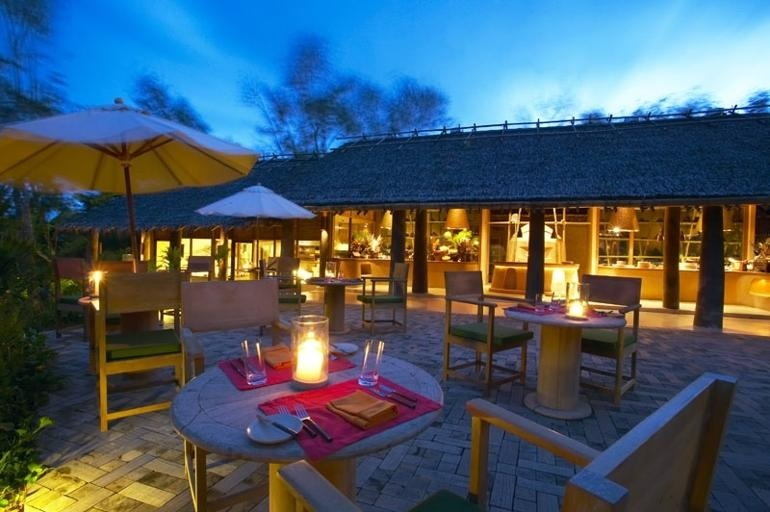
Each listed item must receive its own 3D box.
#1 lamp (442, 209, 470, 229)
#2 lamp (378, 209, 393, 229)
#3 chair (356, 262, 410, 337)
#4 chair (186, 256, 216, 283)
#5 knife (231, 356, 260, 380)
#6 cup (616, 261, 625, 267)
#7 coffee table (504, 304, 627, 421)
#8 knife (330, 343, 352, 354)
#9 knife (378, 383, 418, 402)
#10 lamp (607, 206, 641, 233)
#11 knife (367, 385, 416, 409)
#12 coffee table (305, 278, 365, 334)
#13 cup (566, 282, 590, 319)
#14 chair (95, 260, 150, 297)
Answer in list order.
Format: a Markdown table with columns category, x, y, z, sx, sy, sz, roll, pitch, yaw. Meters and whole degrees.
| category | x | y | z | sx | sy | sz | roll | pitch | yaw |
| --- | --- | --- | --- | --- | --- | --- | --- | --- | --- |
| lamp | 2.733 | -1.414 | 19.437 | 0.738 | 0.772 | 0.769 | 6 | 11 | 28 |
| lamp | 0.030 | -1.455 | 20.891 | 0.406 | 0.762 | 1.579 | -4 | 5 | -3 |
| chair | 0.022 | 1.099 | 13.020 | 1.491 | 2.233 | 1.898 | 1 | -1 | -10 |
| chair | -4.810 | 0.313 | 13.472 | 0.784 | 0.696 | 0.552 | 3 | 8 | -2 |
| knife | -1.936 | 1.567 | 7.177 | 0.253 | 0.291 | 0.179 | -8 | -16 | -13 |
| cup | 8.308 | 0.266 | 18.119 | 0.227 | 0.202 | 0.293 | -1 | -4 | 7 |
| coffee table | 3.168 | 1.797 | 9.185 | 1.922 | 1.367 | 1.937 | 2 | 2 | 30 |
| knife | -0.639 | 1.317 | 7.444 | 0.190 | 0.058 | 0.182 | 2 | -1 | -41 |
| knife | 0.211 | 1.827 | 6.864 | 0.698 | 0.074 | 0.186 | 11 | 23 | 26 |
| lamp | 8.114 | -1.190 | 17.917 | 1.013 | 1.038 | 1.053 | 1 | -1 | -18 |
| knife | 0.064 | 1.858 | 6.897 | 0.742 | 0.041 | 0.230 | 10 | 27 | 23 |
| coffee table | -1.060 | 1.108 | 11.951 | 1.274 | 1.139 | 1.269 | 2 | 4 | 17 |
| cup | 3.314 | 0.752 | 8.836 | 0.408 | 0.570 | 0.291 | -3 | 5 | 9 |
| chair | -5.105 | 0.552 | 9.950 | 0.690 | 0.808 | 1.237 | -1 | 2 | -29 |
